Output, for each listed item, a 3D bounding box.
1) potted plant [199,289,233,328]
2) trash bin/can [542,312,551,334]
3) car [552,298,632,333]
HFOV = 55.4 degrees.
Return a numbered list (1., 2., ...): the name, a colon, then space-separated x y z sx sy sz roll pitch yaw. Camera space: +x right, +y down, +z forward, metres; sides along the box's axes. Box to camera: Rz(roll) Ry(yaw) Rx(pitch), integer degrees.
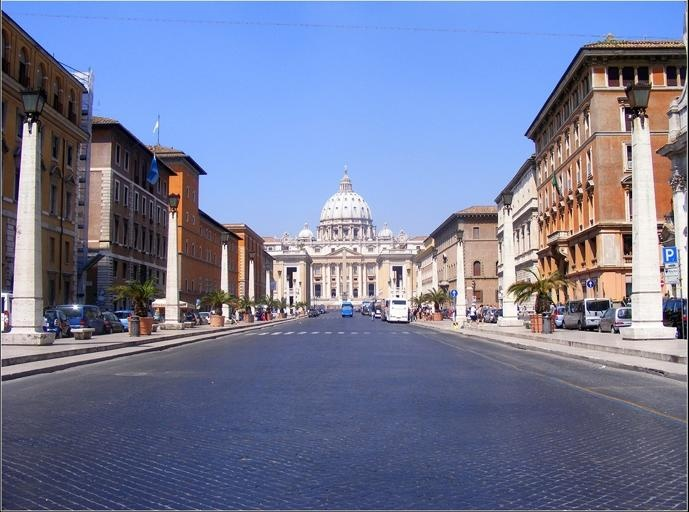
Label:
1. potted plant: -10.430 4.321 54.111 2.713 3.356 2.939 3 2 -15
2. trash bin/can: 10.757 3.576 34.848 0.410 0.993 0.597 -1 -3 15
3. car: 15.226 3.835 40.802 1.851 2.235 4.751 0 -2 2
